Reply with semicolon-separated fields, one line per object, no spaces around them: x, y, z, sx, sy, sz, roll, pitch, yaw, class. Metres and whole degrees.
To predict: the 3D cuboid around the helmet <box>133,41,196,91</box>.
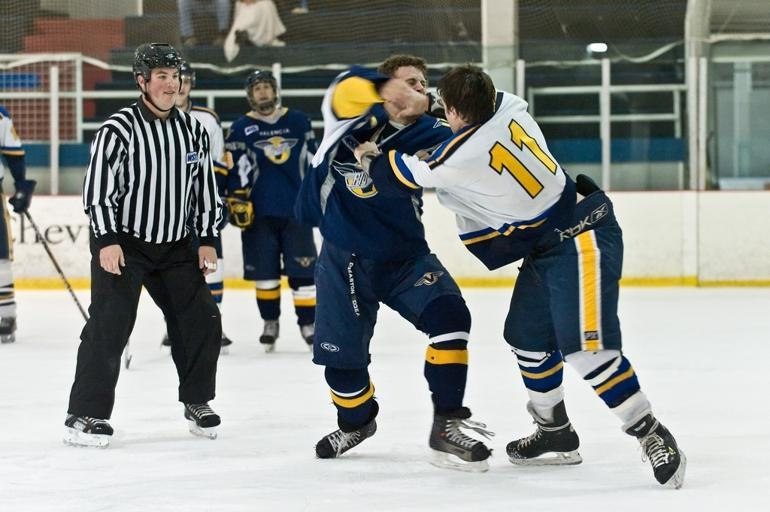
-1.296;-1.122;6.176;0.271;0.203;0.196;-3;12;-15;helmet

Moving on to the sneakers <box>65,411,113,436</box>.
-1.652;0.956;6.081;0.275;0.118;0.107;0;-1;15;sneakers

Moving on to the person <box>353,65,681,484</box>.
0.829;0.079;5.672;1.571;2.128;0.414;3;12;19;person

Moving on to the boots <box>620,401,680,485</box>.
1.390;0.960;5.647;0.163;0.229;0.493;-44;15;15;boots

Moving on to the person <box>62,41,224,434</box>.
-1.362;-0.068;6.079;0.885;2.216;0.518;-3;12;-9;person

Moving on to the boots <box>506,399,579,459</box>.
0.833;1.037;6.012;0.504;0.464;0.204;1;-10;7;boots

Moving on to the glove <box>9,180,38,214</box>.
-2.855;-0.470;8.482;0.150;0.260;0.278;1;12;10;glove

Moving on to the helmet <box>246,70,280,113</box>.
-0.857;-1.244;8.198;0.229;0.319;0.327;-12;-1;-7;helmet

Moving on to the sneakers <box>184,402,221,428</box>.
-1.037;0.919;6.140;0.098;0.116;0.282;0;-9;-31;sneakers
